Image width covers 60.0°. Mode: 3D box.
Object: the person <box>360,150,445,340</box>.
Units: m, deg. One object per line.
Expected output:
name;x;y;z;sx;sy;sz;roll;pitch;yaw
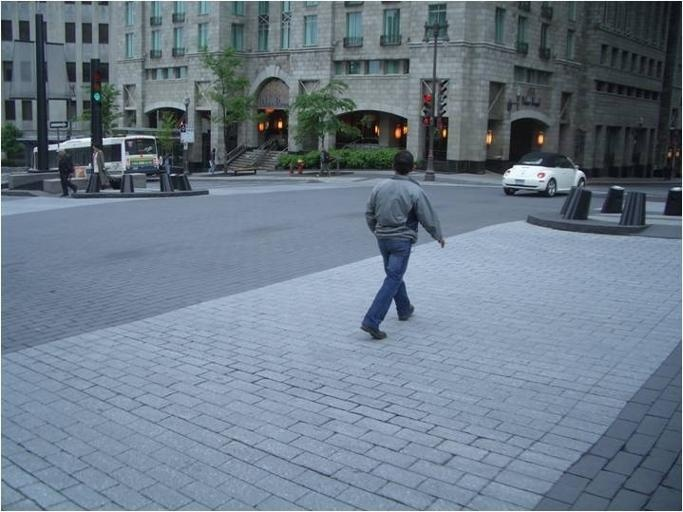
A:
person;0.649;-0.137;7.027;0.979;2.170;0.623;-2;10;-11

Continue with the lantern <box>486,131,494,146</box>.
lantern;11.585;-9.264;46.848;0.589;1.039;0.517;-1;10;-7

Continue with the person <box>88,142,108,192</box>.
person;-9.405;-3.374;22.887;0.671;1.701;1.584;-4;10;-21

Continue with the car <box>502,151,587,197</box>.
car;8.332;-3.347;24.570;3.101;1.773;1.474;-6;11;-31

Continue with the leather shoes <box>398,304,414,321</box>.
leather shoes;0.841;0.720;7.672;0.104;0.140;0.321;7;26;28

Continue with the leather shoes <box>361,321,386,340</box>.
leather shoes;0.363;0.875;6.898;0.253;0.230;0.273;3;10;17

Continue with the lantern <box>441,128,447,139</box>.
lantern;8.236;-9.901;47.929;0.475;0.907;0.488;2;5;30
